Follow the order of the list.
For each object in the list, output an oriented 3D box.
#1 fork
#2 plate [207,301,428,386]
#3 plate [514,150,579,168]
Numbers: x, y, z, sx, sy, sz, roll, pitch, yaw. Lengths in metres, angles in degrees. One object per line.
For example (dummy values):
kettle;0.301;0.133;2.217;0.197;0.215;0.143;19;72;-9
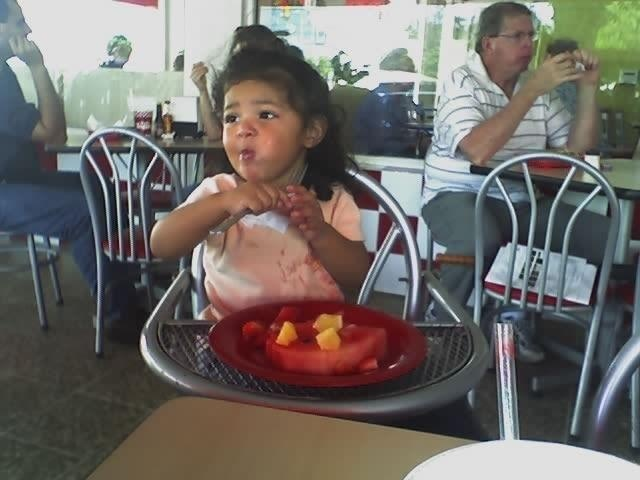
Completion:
fork;-0.119;-0.075;1.052;0.209;0.036;0.030;-39;31;-8
plate;0.000;0.135;0.742;0.289;0.043;0.225;2;18;10
plate;0.756;-0.266;1.797;0.140;0.049;0.196;-2;7;-14
